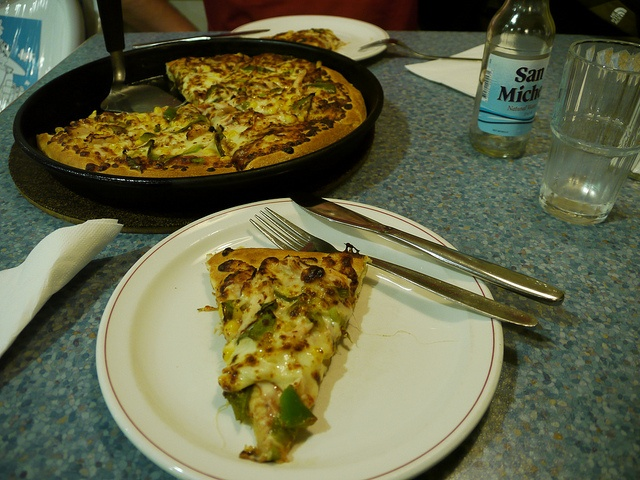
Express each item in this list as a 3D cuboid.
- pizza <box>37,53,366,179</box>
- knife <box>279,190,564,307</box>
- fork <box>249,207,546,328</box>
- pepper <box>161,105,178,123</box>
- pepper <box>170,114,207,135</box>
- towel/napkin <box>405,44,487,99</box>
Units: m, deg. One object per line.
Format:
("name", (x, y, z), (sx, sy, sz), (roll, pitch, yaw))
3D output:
("pizza", (-0.284, -0.360, 1.496), (0.647, 0.089, 0.663), (18, 37, 24))
("knife", (0.214, 0.026, 1.040), (0.701, 0.034, 0.074), (17, 53, 24))
("fork", (0.138, 0.062, 0.989), (0.609, 0.034, 0.070), (18, 49, 18))
("pepper", (-0.480, -0.403, 1.571), (0.039, 0.024, 0.061), (11, 36, 0))
("pepper", (-0.396, -0.358, 1.519), (0.030, 0.039, 0.264), (33, 21, 1))
("towel/napkin", (0.432, -0.598, 1.770), (0.270, 0.027, 0.260), (15, 45, 17))
